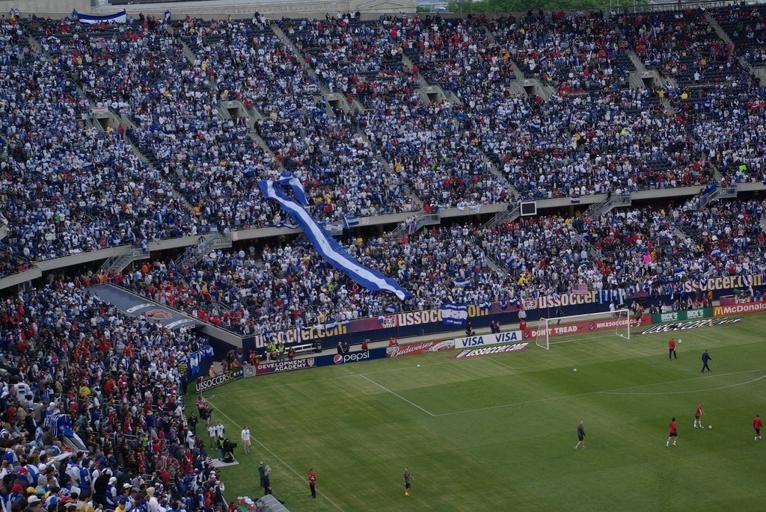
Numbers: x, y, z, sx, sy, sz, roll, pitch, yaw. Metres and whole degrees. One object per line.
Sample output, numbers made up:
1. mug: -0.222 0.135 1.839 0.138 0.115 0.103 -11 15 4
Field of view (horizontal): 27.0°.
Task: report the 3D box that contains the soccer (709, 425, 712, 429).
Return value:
1. soccer: 22.834 12.016 111.157 0.165 0.062 0.171 -8 23 -2
